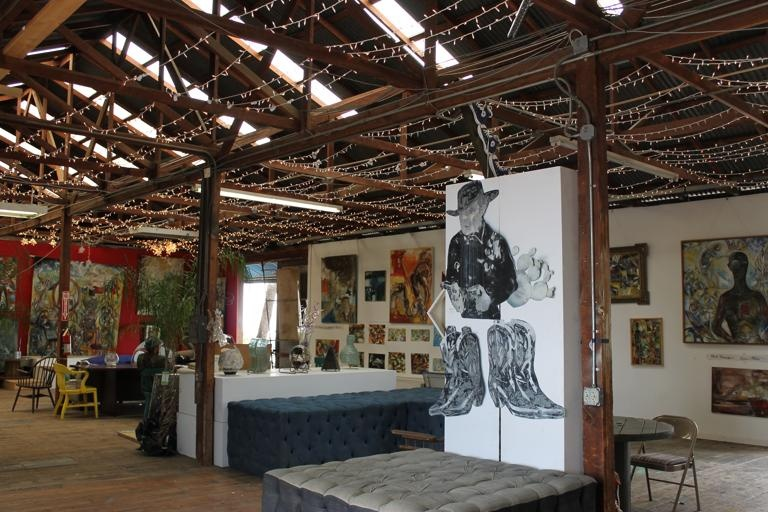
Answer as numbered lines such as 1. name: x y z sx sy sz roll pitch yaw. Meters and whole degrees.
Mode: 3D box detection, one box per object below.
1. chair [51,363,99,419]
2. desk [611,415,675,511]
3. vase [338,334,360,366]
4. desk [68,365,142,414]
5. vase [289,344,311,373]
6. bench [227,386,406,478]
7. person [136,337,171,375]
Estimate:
1. chair: -6.864 2.984 12.329 0.873 1.081 0.849 -7 -9 36
2. desk: 2.902 2.451 6.203 0.562 1.124 1.364 -3 -10 22
3. vase: -0.643 1.745 10.141 0.302 0.581 0.377 1 -9 -1
4. desk: -6.304 3.070 12.948 1.847 0.891 0.973 -25 -5 32
5. vase: -1.418 1.732 9.318 0.356 0.403 0.147 6 -7 -18
6. bench: -1.077 2.481 7.764 2.434 1.029 0.909 1 2 -44
7. person: -4.820 2.114 11.652 0.826 0.696 0.472 -1 -11 19
